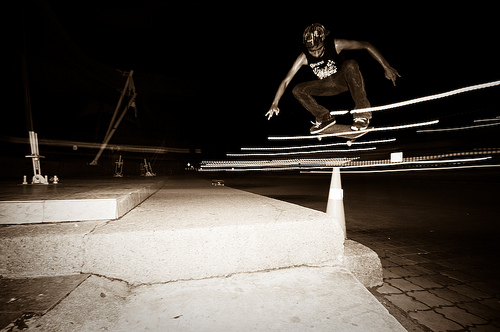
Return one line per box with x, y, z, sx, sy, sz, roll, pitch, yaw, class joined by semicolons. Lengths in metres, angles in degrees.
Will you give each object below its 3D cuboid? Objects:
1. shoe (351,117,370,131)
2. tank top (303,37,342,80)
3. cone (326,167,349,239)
2.532;-0.959;6.979;0.387;0.231;0.333;0;-1;19;shoe
1.684;-2.480;6.926;0.867;0.567;1.039;-17;-52;34;tank top
1.438;0.610;5.021;0.421;1.104;0.364;1;-5;0;cone
